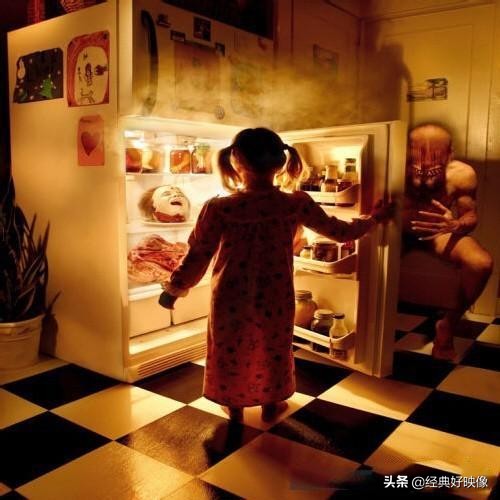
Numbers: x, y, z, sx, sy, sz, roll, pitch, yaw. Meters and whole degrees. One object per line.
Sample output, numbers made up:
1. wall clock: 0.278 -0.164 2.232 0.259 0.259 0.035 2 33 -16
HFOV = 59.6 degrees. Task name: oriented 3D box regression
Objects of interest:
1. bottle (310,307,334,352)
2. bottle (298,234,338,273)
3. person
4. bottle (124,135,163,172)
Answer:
1. bottle: 0.280 0.311 1.682 0.093 0.167 0.103 3 8 21
2. bottle: 0.267 0.010 1.713 0.142 0.060 0.144 -2 8 0
3. person: 0.075 0.121 1.485 0.756 0.999 0.254 -2 13 -15
4. bottle: -0.477 -0.419 1.964 0.173 0.162 0.169 -1 8 -17
